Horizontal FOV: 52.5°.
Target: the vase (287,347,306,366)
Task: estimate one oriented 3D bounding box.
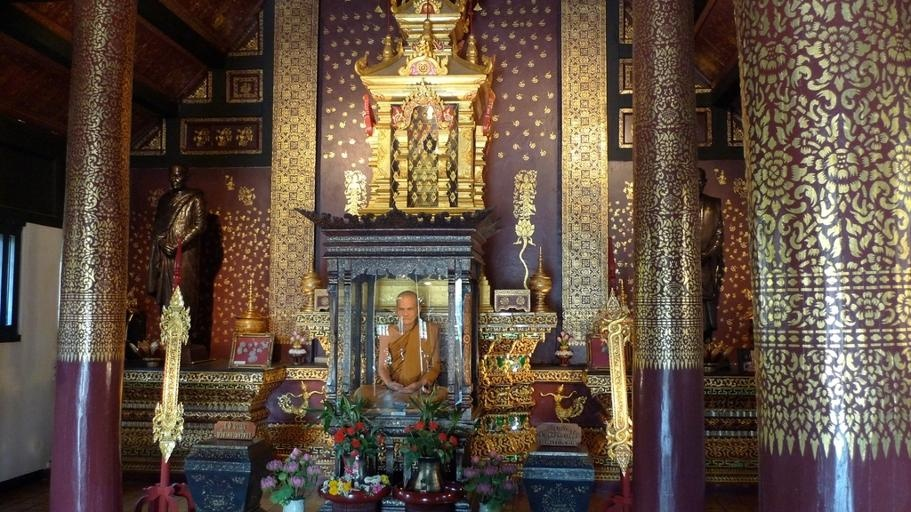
[{"bbox_3d":[-1.769,1.115,10.354,0.210,0.188,0.208,-5,-10,37],"label":"vase"}]

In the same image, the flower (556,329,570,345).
[{"bbox_3d":[1.192,0.897,10.243,0.131,0.149,0.126,4,-13,-8],"label":"flower"}]

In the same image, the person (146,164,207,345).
[{"bbox_3d":[-3.052,-0.142,10.151,0.554,1.726,0.876,4,-11,-17],"label":"person"}]

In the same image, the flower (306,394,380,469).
[{"bbox_3d":[-1.018,1.691,8.919,0.640,0.714,0.365,2,-11,-4],"label":"flower"}]

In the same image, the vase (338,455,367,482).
[{"bbox_3d":[-0.978,2.007,8.764,0.227,0.228,0.221,1,-5,-1],"label":"vase"}]

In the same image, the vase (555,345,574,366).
[{"bbox_3d":[1.204,1.093,10.163,0.200,0.191,0.196,-1,-2,6],"label":"vase"}]

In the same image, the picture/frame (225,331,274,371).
[{"bbox_3d":[-2.201,1.020,9.990,0.405,0.353,0.074,-2,-25,0],"label":"picture/frame"}]

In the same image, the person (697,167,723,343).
[{"bbox_3d":[2.714,0.105,9.729,0.225,1.575,0.550,-2,-11,15],"label":"person"}]

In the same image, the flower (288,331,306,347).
[{"bbox_3d":[-1.735,0.924,10.288,0.172,0.213,0.177,-3,-15,5],"label":"flower"}]

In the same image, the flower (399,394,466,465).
[{"bbox_3d":[-0.230,1.639,8.805,0.636,0.776,0.635,-4,-12,40],"label":"flower"}]

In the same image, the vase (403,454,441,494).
[{"bbox_3d":[-0.293,2.069,8.792,0.337,0.285,0.329,1,-10,-1],"label":"vase"}]
